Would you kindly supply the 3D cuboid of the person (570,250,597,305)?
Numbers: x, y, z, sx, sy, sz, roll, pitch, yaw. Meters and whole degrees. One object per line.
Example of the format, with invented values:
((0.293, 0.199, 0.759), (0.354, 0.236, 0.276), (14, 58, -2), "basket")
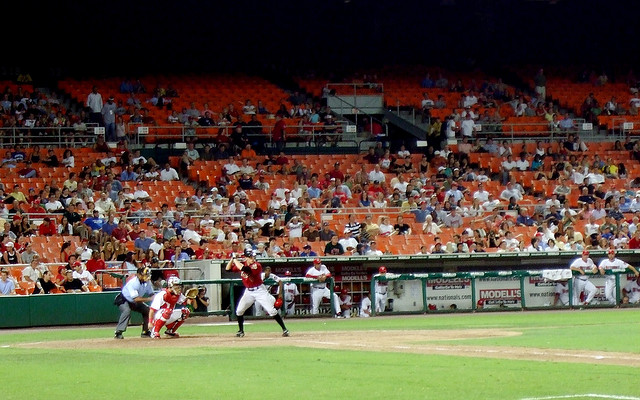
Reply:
((11.083, 3.276, 55.172), (0.950, 2.448, 0.811), (-1, -2, -18), "person")

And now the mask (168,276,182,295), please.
((-5.400, 3.134, 48.395), (0.604, 0.603, 0.492), (0, 9, -11), "mask")

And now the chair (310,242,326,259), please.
((-0.098, 2.116, 56.139), (0.579, 0.723, 0.596), (1, -11, 0), "chair")

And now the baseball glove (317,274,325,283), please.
((0.042, 3.206, 53.761), (0.190, 0.271, 0.105), (8, 6, 29), "baseball glove")

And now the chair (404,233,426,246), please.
((4.144, 1.731, 57.476), (0.902, 0.553, 0.642), (1, -8, -5), "chair")

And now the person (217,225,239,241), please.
((-3.937, 1.473, 55.949), (0.972, 0.841, 0.578), (-3, -19, -6), "person")

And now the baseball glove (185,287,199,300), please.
((-4.865, 3.597, 50.046), (0.122, 0.425, 0.520), (8, -46, -37), "baseball glove")

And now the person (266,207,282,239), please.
((-2.018, 0.960, 56.739), (0.654, 1.357, 1.413), (0, -8, -3), "person")

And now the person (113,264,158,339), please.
((-6.906, 3.798, 48.854), (1.422, 2.780, 1.066), (1, -8, -5), "person")

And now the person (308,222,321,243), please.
((-0.297, 1.441, 56.743), (0.655, 1.007, 0.566), (-9, 6, -9), "person")

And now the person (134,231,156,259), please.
((-7.350, 2.019, 54.707), (0.941, 1.495, 1.048), (1, -42, -9), "person")

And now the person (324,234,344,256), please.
((0.534, 1.944, 55.658), (0.881, 1.147, 0.802), (1, -10, -5), "person")

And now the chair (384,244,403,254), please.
((3.179, 2.102, 56.881), (0.520, 0.469, 0.662), (-2, -15, -4), "chair")

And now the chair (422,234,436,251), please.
((4.810, 1.796, 57.546), (0.487, 0.612, 0.501), (0, -10, 0), "chair")

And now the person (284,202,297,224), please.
((-1.327, 0.607, 57.487), (0.520, 0.948, 0.897), (2, -8, -14), "person")

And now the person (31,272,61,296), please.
((-11.278, 3.442, 53.290), (0.837, 1.216, 0.798), (-6, -11, 40), "person")

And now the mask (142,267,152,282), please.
((-6.441, 2.802, 48.829), (0.355, 0.480, 0.470), (5, -6, -30), "mask")
